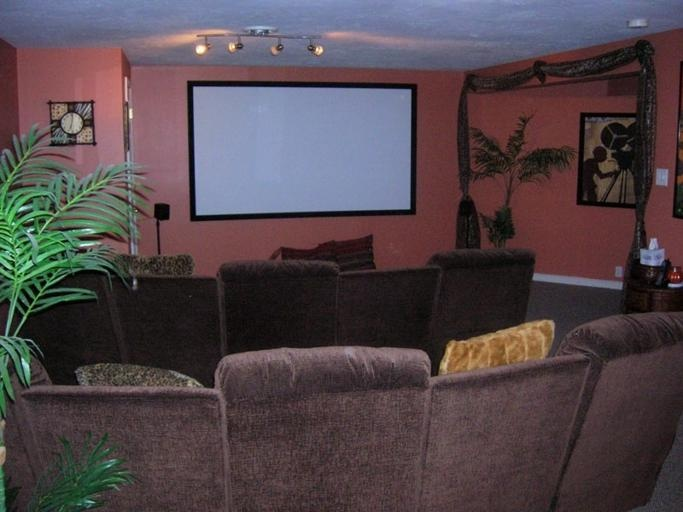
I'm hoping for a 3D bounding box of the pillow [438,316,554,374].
[{"bbox_3d":[0.553,0.302,2.019,0.462,0.179,0.109,-8,7,-16],"label":"pillow"}]

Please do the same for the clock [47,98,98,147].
[{"bbox_3d":[-2.742,-1.338,5.749,0.487,0.459,0.146,0,8,2],"label":"clock"}]

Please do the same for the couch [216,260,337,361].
[{"bbox_3d":[-0.401,0.289,3.667,0.726,0.755,0.564,-2,15,-11],"label":"couch"}]

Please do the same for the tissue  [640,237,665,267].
[{"bbox_3d":[2.799,-0.034,5.159,0.190,0.234,0.185,3,9,27],"label":"tissue "}]

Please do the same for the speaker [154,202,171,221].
[{"bbox_3d":[-2.153,-0.534,6.830,0.282,0.261,0.146,0,4,-26],"label":"speaker"}]

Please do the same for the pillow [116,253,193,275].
[{"bbox_3d":[-1.190,0.018,3.717,0.361,0.111,0.189,-1,4,-24],"label":"pillow"}]
